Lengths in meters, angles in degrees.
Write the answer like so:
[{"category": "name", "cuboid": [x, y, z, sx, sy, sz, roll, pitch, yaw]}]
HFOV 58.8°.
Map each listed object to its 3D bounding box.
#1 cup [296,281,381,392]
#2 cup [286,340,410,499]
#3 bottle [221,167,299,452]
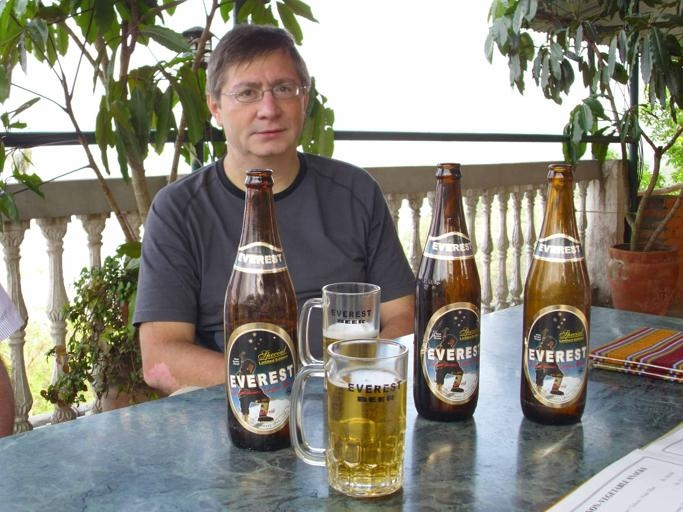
[{"category": "cup", "cuboid": [-0.004, 0.137, 1.059, 0.158, 0.158, 0.098, -4, -6, 22]}, {"category": "cup", "cuboid": [0.021, 0.207, 0.844, 0.209, 0.218, 0.145, -2, 9, -2]}, {"category": "bottle", "cuboid": [-0.119, 0.083, 0.868, 0.108, 0.411, 0.081, -4, 10, -9]}]
